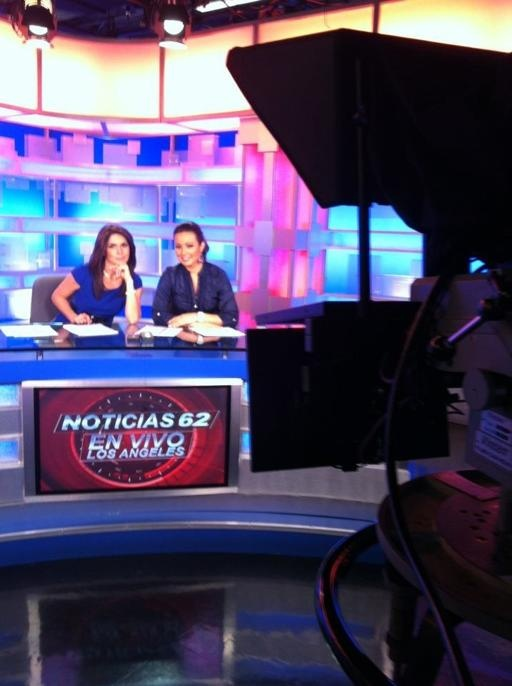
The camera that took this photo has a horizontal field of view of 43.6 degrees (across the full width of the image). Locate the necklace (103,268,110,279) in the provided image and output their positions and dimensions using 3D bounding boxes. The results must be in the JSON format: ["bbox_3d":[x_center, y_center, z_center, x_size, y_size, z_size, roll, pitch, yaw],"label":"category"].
[{"bbox_3d":[-0.789,-0.363,3.387,0.032,0.030,0.032,3,12,-2],"label":"necklace"}]
